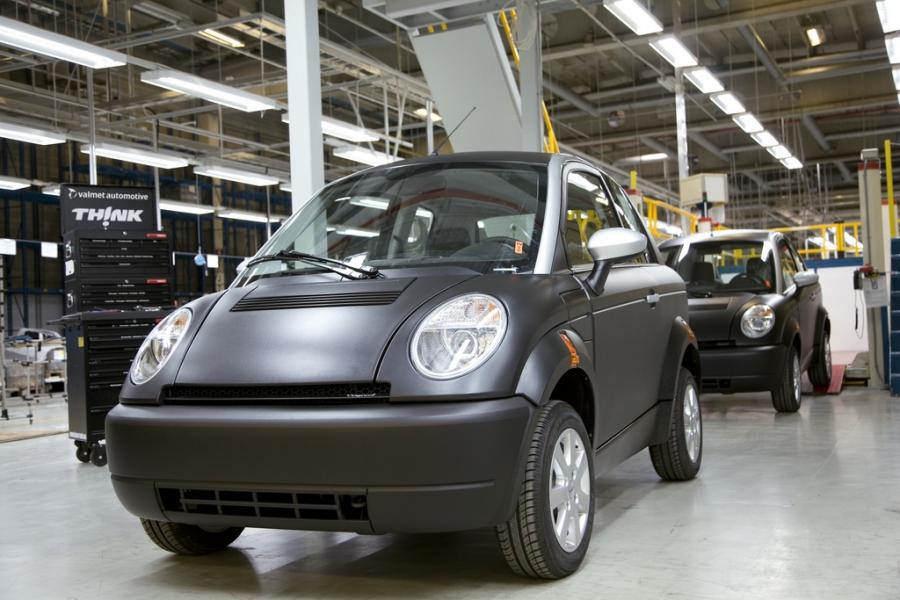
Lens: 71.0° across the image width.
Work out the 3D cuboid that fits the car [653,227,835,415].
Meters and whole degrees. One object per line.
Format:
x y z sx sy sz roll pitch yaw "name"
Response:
3.700 0.150 7.972 1.808 1.323 3.025 -6 -7 35 "car"
